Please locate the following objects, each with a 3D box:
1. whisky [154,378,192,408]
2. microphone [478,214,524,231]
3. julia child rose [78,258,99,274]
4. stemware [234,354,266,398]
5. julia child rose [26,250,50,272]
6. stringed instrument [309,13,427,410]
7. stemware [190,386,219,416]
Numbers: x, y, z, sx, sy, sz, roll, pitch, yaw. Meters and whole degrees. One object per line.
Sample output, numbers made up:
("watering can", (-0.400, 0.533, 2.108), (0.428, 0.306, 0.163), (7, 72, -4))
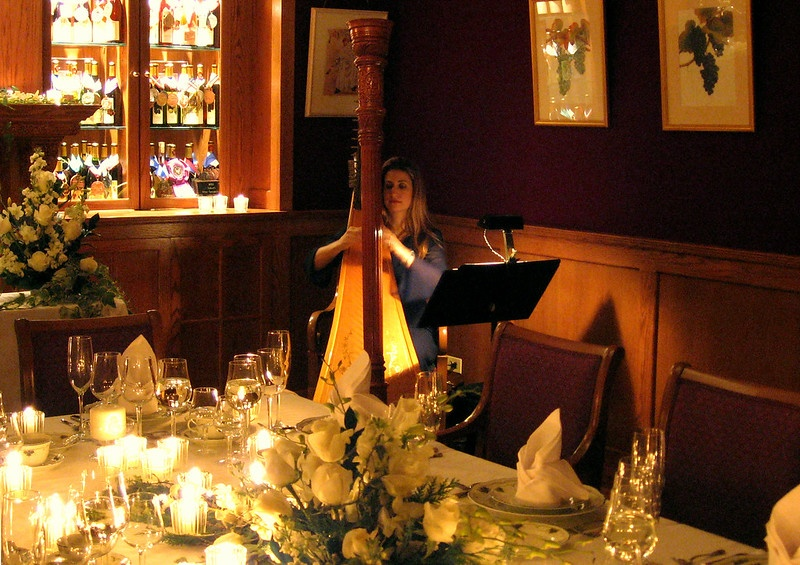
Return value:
("whisky", (-0.694, 0.322, 2.109), (0.089, 0.108, 0.095), (4, 7, 37))
("microphone", (0.498, -0.297, 3.459), (0.225, 0.075, 0.124), (-1, 7, -15))
("julia child rose", (-1.467, -0.068, 3.205), (0.079, 0.087, 0.062), (8, -7, -27))
("stemware", (-0.458, 0.289, 2.163), (0.118, 0.128, 0.120), (0, 2, -32))
("julia child rose", (-1.670, -0.091, 3.151), (0.096, 0.098, 0.072), (-3, 7, -28))
("stringed instrument", (-0.157, -0.242, 3.190), (0.520, 1.665, 1.198), (1, 6, 2))
("stemware", (-0.558, 0.336, 1.988), (0.077, 0.084, 0.082), (6, 5, 29))
